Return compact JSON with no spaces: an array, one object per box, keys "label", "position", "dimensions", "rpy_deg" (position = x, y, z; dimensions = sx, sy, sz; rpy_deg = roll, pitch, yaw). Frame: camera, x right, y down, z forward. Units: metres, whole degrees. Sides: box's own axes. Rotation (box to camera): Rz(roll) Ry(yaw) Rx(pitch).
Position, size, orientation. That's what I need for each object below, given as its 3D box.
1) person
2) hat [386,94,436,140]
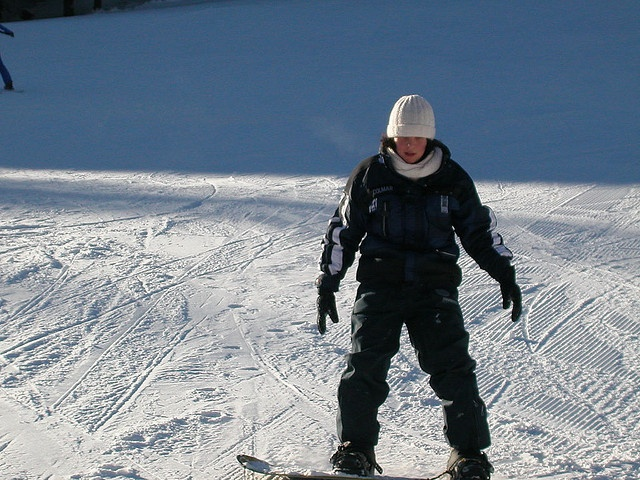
[{"label":"person","position":[0.581,0.310,4.153],"dimensions":[1.216,2.294,1.324],"rpy_deg":[-3,23,0]},{"label":"hat","position":[0.497,-0.751,4.299],"dimensions":[0.363,0.179,0.259],"rpy_deg":[6,16,7]}]
